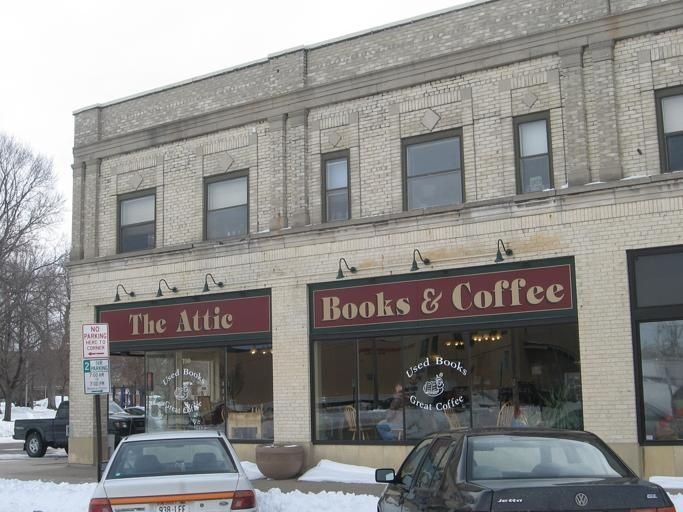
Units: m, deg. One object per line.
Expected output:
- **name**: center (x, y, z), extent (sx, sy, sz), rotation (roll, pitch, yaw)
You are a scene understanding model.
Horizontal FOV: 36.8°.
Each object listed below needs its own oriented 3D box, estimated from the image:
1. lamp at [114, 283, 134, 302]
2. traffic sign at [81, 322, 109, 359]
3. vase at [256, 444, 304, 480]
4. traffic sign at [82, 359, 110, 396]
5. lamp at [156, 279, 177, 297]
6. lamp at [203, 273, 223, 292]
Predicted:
- **lamp**: center (-6.472, 1.042, 30.508), extent (0.756, 0.566, 0.306), rotation (-10, -16, 31)
- **traffic sign**: center (-5.663, 1.981, 23.679), extent (0.642, 0.834, 0.283), rotation (8, -16, -32)
- **vase**: center (-1.697, 5.291, 26.315), extent (0.903, 0.551, 0.922), rotation (-14, -20, 32)
- **traffic sign**: center (-5.616, 2.772, 23.645), extent (0.540, 0.821, 0.577), rotation (1, -14, -10)
- **lamp**: center (-4.947, 0.918, 29.954), extent (0.311, 0.489, 0.814), rotation (-9, -5, 32)
- **lamp**: center (-3.671, 0.708, 28.894), extent (0.679, 0.574, 0.305), rotation (-9, -16, 27)
